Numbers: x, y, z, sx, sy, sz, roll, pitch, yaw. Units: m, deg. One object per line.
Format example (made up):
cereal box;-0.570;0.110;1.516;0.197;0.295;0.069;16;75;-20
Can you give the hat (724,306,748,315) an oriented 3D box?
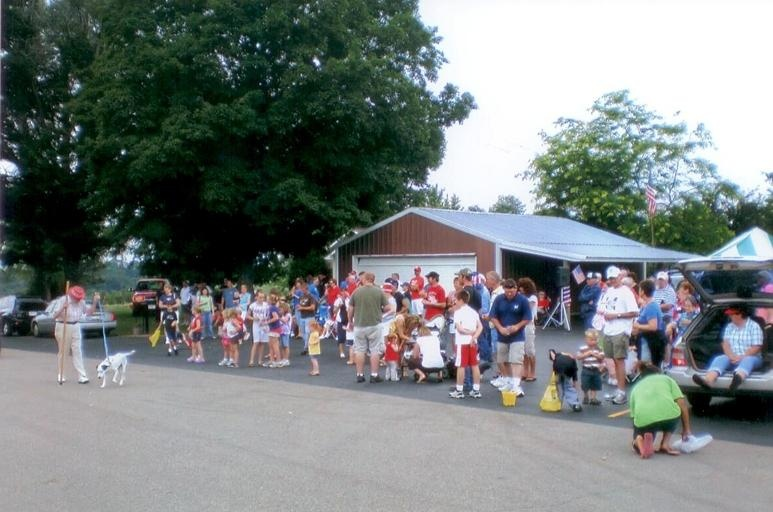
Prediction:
hat;6.583;1.029;14.349;0.274;0.085;0.194;3;4;22

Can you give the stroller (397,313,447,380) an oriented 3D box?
stroller;0.815;2.177;18.157;1.062;1.370;1.491;-5;12;-25

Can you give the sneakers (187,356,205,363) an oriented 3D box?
sneakers;-5.394;2.904;21.430;0.517;0.239;0.198;-3;-4;16

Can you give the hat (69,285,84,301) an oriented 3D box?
hat;-7.279;0.891;17.926;0.304;0.359;0.521;-3;5;-24

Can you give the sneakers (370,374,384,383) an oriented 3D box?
sneakers;-0.210;2.859;17.795;0.128;0.162;0.370;3;2;31

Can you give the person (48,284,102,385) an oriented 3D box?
person;-7.422;1.847;18.036;0.786;2.288;1.319;-3;5;-22

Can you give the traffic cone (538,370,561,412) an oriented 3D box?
traffic cone;3.294;2.619;15.015;0.459;0.843;0.487;4;-41;2

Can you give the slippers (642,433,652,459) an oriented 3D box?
slippers;4.162;3.041;12.198;0.193;0.370;0.111;6;-1;-9

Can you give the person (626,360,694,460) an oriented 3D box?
person;4.454;2.595;12.607;0.888;1.718;1.081;9;-30;-6

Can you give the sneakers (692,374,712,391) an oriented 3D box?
sneakers;5.682;2.279;13.836;0.439;0.162;0.180;44;15;27

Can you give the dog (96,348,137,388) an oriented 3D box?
dog;-6.145;2.546;17.638;0.287;0.580;1.338;0;11;25

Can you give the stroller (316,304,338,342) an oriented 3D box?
stroller;-2.092;2.353;26.890;0.769;1.173;1.587;1;5;-7

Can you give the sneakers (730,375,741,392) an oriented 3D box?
sneakers;6.243;2.262;13.678;0.111;0.294;0.128;23;7;20

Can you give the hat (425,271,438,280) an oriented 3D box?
hat;1.111;0.488;18.910;0.258;0.141;0.189;25;4;17

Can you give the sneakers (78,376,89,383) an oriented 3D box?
sneakers;-7.029;2.861;17.716;0.215;0.161;0.329;-2;4;-24

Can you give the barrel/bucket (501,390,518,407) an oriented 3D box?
barrel/bucket;2.445;2.856;15.242;0.271;0.266;0.279;0;-13;0

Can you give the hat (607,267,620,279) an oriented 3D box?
hat;4.597;0.334;15.533;0.206;0.198;0.321;-13;-5;31

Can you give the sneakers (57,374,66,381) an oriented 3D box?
sneakers;-7.586;2.854;17.818;0.148;0.178;0.437;4;-12;-29
